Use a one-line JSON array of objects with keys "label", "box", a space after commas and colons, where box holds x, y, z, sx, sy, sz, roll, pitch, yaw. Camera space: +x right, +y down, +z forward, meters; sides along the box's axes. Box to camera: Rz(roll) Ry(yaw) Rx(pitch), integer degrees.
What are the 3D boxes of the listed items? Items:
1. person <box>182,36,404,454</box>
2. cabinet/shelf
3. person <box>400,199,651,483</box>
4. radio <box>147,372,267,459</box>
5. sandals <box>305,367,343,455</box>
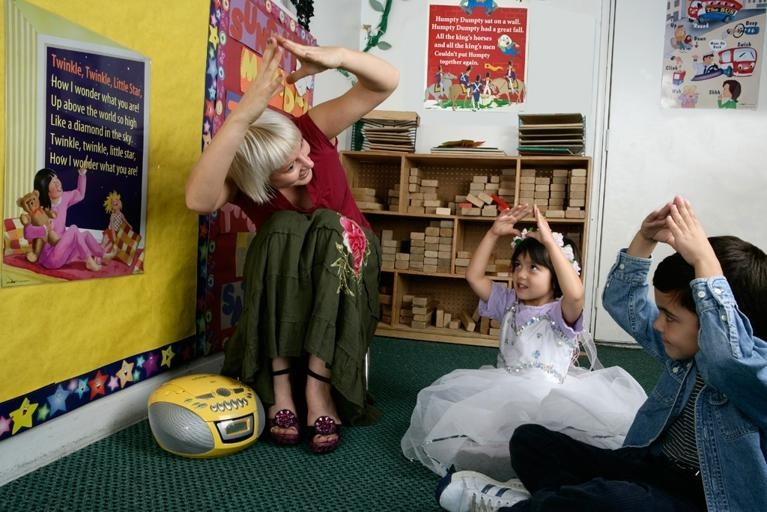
[{"label": "person", "box": [-0.335, -0.042, 1.957, 0.735, 1.421, 0.471, 2, 9, -4]}, {"label": "cabinet/shelf", "box": [0.486, -0.128, 3.498, 1.403, 1.187, 0.439, 6, 17, 19]}, {"label": "person", "box": [0.567, 0.364, 2.110, 0.929, 1.067, 0.790, 3, -11, 35]}, {"label": "radio", "box": [-0.658, 0.565, 1.906, 0.377, 0.228, 0.401, 7, 2, 32]}, {"label": "sandals", "box": [-0.222, 0.579, 1.900, 0.095, 0.141, 0.320, -2, -1, -8]}]
